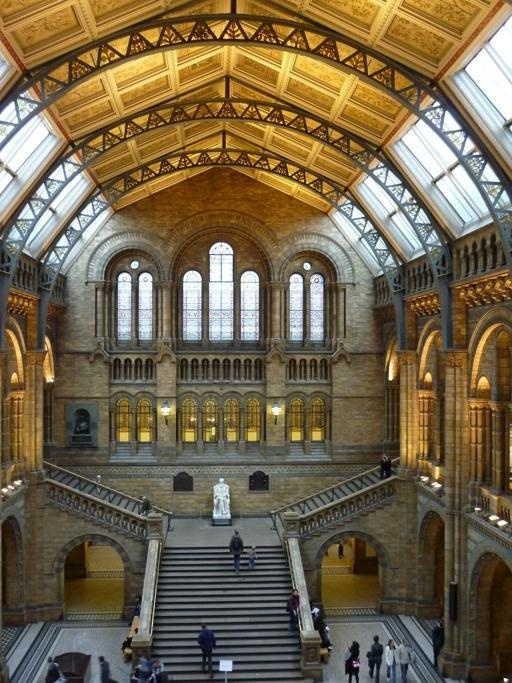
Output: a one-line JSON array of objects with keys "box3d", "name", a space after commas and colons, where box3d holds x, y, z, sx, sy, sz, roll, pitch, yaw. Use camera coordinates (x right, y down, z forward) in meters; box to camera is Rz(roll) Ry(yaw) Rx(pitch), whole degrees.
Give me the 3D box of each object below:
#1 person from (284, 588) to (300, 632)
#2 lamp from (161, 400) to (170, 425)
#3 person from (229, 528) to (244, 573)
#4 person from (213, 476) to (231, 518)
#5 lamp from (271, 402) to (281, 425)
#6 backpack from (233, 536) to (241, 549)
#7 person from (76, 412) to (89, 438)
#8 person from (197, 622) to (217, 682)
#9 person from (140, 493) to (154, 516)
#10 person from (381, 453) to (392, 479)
[{"box3d": [1.180, 8.467, 18.984, 0.382, 1.271, 0.957, 0, -6, -4], "name": "person"}, {"box3d": [-4.252, 3.381, 28.290, 0.458, 1.140, 0.618, 0, -6, -5], "name": "lamp"}, {"box3d": [-0.730, 7.593, 21.970, 0.424, 1.361, 1.089, 0, -6, -2], "name": "person"}, {"box3d": [-1.539, 7.004, 26.619, 0.721, 1.831, 0.402, 1, -6, -11], "name": "person"}, {"box3d": [0.986, 3.465, 28.731, 0.519, 1.027, 0.571, -1, -6, 1], "name": "lamp"}, {"box3d": [-0.689, 7.245, 21.655, 0.348, 0.497, 0.247, 1, -6, -11], "name": "backpack"}, {"box3d": [-8.184, 3.852, 28.342, 0.649, 1.254, 0.154, 1, -6, -12], "name": "person"}, {"box3d": [-1.416, 8.819, 17.394, 0.419, 1.508, 1.010, -1, -6, -1], "name": "person"}, {"box3d": [-4.722, 7.045, 25.921, 0.671, 0.857, 1.263, -1, -41, -8], "name": "person"}, {"box3d": [5.558, 5.393, 25.578, 0.458, 0.865, 1.159, -2, -6, 11], "name": "person"}]
